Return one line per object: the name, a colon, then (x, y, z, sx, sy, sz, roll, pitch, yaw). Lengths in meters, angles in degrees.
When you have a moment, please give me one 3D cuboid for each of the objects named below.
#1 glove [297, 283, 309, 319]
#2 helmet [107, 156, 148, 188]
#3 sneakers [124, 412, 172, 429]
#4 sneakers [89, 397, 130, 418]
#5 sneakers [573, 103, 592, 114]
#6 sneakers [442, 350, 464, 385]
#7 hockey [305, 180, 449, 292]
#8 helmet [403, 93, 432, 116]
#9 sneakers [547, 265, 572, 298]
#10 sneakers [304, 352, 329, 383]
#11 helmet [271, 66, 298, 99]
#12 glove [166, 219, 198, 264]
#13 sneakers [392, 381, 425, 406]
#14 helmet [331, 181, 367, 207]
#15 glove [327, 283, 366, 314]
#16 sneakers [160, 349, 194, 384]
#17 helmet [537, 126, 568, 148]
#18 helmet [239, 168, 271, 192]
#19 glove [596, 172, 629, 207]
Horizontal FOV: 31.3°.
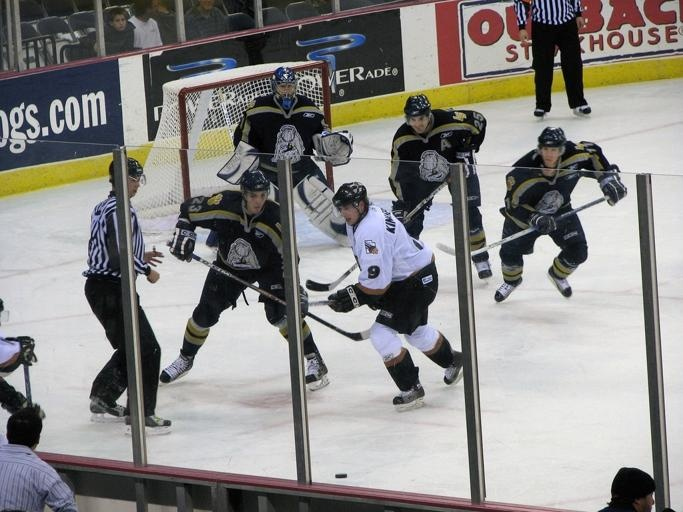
glove: (-0.152, 0.197, 5.182, 0.037, 0.145, 0.066, -7, 7, -2)
helmet: (-0.932, -0.367, 5.304, 0.146, 0.114, 0.136, -6, 6, -10)
sneakers: (-0.869, 0.748, 5.397, 0.240, 0.086, 0.074, -2, 2, 0)
sneakers: (-1.043, 0.699, 5.533, 0.236, 0.104, 0.071, 0, 9, 3)
sneakers: (2.011, -1.207, 10.160, 0.139, 0.060, 0.093, -7, -33, 28)
sneakers: (0.464, 0.474, 5.013, 0.060, 0.146, 0.071, 26, 20, 38)
hockey: (0.139, -0.086, 5.126, 0.594, 0.065, 0.108, -44, 49, -15)
helmet: (0.456, -0.857, 6.927, 0.146, 0.147, 0.160, -4, -7, -6)
sneakers: (0.858, 0.110, 4.785, 0.053, 0.152, 0.063, -40, -6, 12)
sneakers: (-0.100, 0.484, 5.184, 0.092, 0.128, 0.068, -6, 7, 2)
helmet: (-0.327, -1.031, 7.268, 0.155, 0.162, 0.191, -4, 20, -5)
glove: (-0.676, -0.058, 5.261, 0.131, 0.173, 0.056, 19, 9, 1)
sneakers: (0.274, 0.582, 5.061, 0.167, 0.068, 0.058, -24, 14, -2)
helmet: (0.034, -0.254, 5.097, 0.124, 0.098, 0.091, 10, 0, -5)
glove: (0.023, 0.188, 5.166, 0.156, 0.114, 0.056, -5, 7, -1)
sneakers: (-0.702, 0.485, 5.299, 0.150, 0.049, 0.105, -34, -9, 16)
helmet: (1.028, -0.576, 5.928, 0.125, 0.123, 0.132, 1, 8, 12)
helmet: (-0.358, -0.315, 5.158, 0.098, 0.101, 0.112, -4, 31, -18)
glove: (1.035, -0.255, 4.663, 0.057, 0.123, 0.099, -26, -9, -41)
